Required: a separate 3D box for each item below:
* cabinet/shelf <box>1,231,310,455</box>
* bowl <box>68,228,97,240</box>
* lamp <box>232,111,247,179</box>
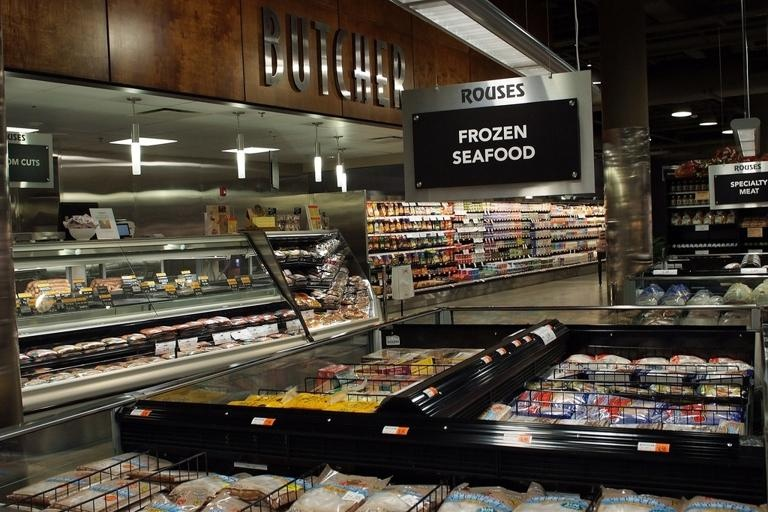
[{"bbox_3d":[-1.764,0.593,4.013,0.518,0.871,1.656,-8,-3,38],"label":"cabinet/shelf"},{"bbox_3d":[-2.896,-0.192,5.183,0.182,0.073,0.173,0,-2,0],"label":"bowl"},{"bbox_3d":[-1.856,-1.398,6.939,0.168,0.849,0.162,-9,24,-35],"label":"lamp"}]
